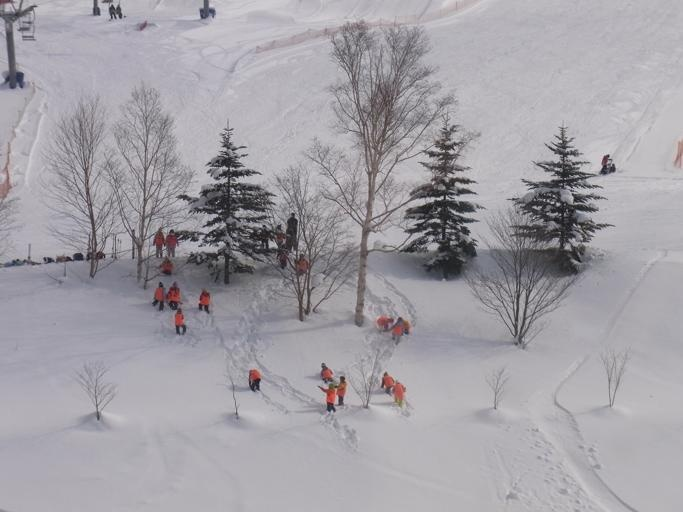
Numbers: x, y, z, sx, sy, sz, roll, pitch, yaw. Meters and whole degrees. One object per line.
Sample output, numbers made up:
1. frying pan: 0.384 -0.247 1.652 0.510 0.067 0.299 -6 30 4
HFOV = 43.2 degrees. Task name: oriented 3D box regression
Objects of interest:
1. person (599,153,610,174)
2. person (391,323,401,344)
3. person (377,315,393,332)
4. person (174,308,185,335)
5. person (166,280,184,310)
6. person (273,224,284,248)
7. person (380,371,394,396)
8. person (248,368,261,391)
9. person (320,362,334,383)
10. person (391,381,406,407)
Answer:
1. person: 21.721 -7.554 71.507 0.650 1.462 2.310 5 15 16
2. person: 3.132 4.353 49.055 0.673 0.925 0.364 4 -3 0
3. person: 2.521 3.869 49.709 0.920 0.831 0.467 -3 15 -14
4. person: -8.838 3.508 47.558 0.552 1.361 1.086 -2 14 -11
5. person: -9.415 2.251 48.987 0.715 1.550 0.934 3 -35 -23
6. person: -3.782 -1.207 52.088 0.495 0.516 1.501 -10 -12 4
7. person: 2.471 6.649 45.858 0.708 1.035 0.955 2 14 2
8. person: -4.508 6.340 44.954 0.660 1.069 0.968 0 14 -6
9. person: -0.809 6.190 45.857 0.506 1.103 0.342 -2 -15 -25
10. person: 3.017 7.009 45.008 0.643 1.273 1.258 2 14 3
